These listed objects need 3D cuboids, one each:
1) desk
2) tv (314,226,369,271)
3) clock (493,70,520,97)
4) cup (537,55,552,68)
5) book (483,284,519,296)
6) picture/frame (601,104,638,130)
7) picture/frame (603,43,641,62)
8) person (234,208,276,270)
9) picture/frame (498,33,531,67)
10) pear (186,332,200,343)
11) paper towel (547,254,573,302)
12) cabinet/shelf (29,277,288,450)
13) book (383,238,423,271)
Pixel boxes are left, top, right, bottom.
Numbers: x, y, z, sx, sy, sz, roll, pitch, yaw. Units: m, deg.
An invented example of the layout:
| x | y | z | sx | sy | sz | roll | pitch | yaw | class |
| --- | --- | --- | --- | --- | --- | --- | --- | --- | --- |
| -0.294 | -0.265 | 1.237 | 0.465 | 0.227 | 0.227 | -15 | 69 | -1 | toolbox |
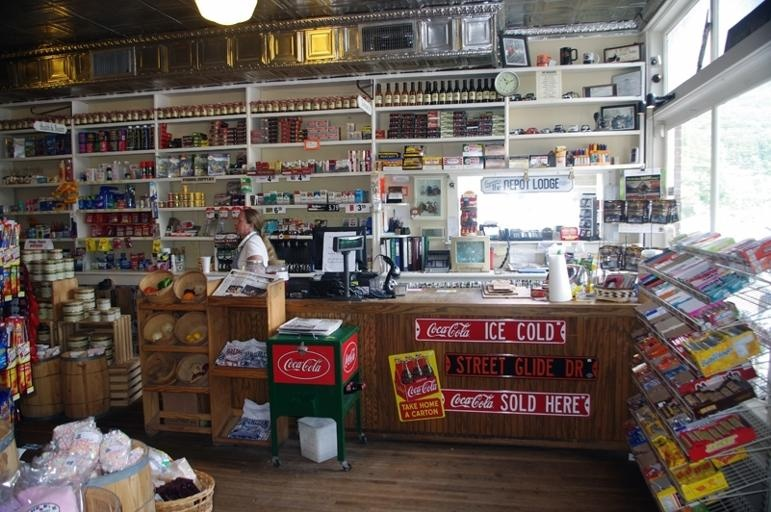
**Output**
| x | y | z | sx | sy | sz | roll | pitch | yaw | class |
| --- | --- | --- | --- | --- | --- | --- | --- | --- | --- |
| -0.627 | 1.282 | 5.392 | 0.858 | 1.225 | 0.513 | -3 | 4 | -3 | desk |
| -0.498 | -0.083 | 6.378 | 0.562 | 0.462 | 0.261 | -1 | -13 | -20 | tv |
| 1.518 | -2.174 | 7.411 | 0.379 | 0.306 | 0.082 | -1 | 5 | 2 | clock |
| 2.007 | -2.470 | 7.521 | 0.200 | 0.155 | 0.181 | 0 | 10 | 3 | cup |
| 1.138 | 0.327 | 5.828 | 0.328 | 0.085 | 0.295 | -1 | 4 | 8 | book |
| 2.972 | -1.753 | 7.449 | 0.435 | 0.258 | 0.027 | 1 | 3 | 15 | picture/frame |
| 2.981 | -2.546 | 7.383 | 0.372 | 0.174 | 0.024 | 3 | 5 | 23 | picture/frame |
| -1.501 | -0.190 | 6.802 | 0.460 | 0.605 | 0.818 | 3 | -3 | 0 | person |
| 1.615 | -2.600 | 7.457 | 0.521 | 0.430 | 0.036 | -6 | -4 | -26 | picture/frame |
| -1.836 | 0.775 | 5.652 | 0.102 | 0.032 | 0.101 | 17 | 24 | 37 | pear |
| 1.642 | 0.199 | 5.510 | 0.197 | 0.430 | 0.293 | 0 | 4 | 29 | paper towel |
| -2.183 | 1.091 | 5.793 | 2.003 | 1.755 | 0.707 | 0 | -3 | 5 | cabinet/shelf |
| 0.240 | -0.060 | 7.686 | 0.474 | 0.510 | 0.588 | -1 | -1 | 6 | book |
